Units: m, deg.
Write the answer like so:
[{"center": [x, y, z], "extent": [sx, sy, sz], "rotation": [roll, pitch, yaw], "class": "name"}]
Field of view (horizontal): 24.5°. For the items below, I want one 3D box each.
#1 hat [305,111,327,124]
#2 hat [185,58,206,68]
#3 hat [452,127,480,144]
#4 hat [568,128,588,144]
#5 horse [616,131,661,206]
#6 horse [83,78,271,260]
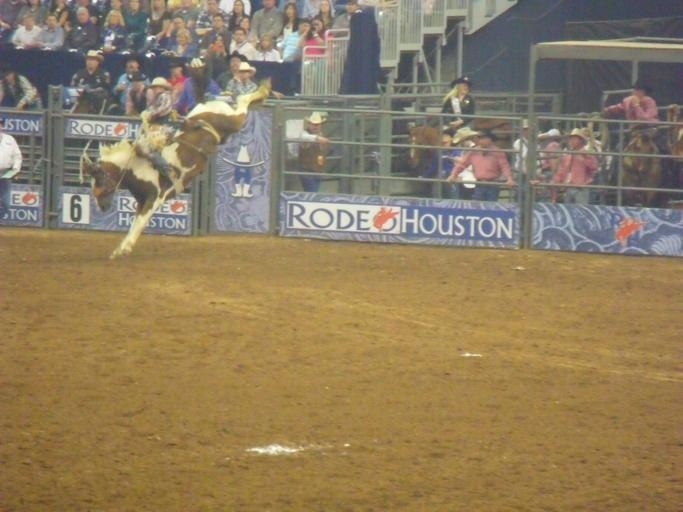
[{"center": [-0.509, -2.782, 31.128], "extent": [0.305, 0.145, 0.352], "rotation": [0, -5, -5], "class": "hat"}, {"center": [-2.733, -3.658, 29.715], "extent": [0.255, 0.206, 0.468], "rotation": [2, 2, -9], "class": "hat"}, {"center": [2.471, -2.428, 30.943], "extent": [0.440, 0.227, 0.296], "rotation": [-10, 11, 32], "class": "hat"}, {"center": [4.618, -2.378, 30.418], "extent": [0.352, 0.128, 0.306], "rotation": [26, -12, -38], "class": "hat"}, {"center": [5.778, -1.749, 29.995], "extent": [0.747, 1.545, 0.713], "rotation": [3, 2, 12], "class": "horse"}, {"center": [-3.004, -1.508, 29.484], "extent": [1.712, 0.749, 3.534], "rotation": [15, 52, 41], "class": "horse"}]
